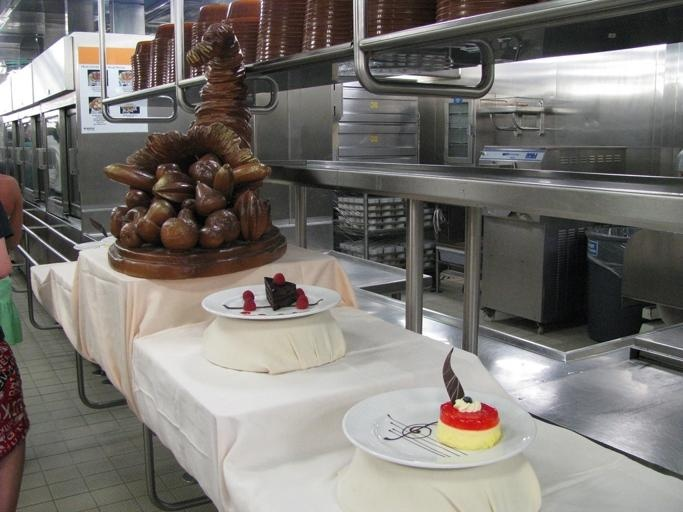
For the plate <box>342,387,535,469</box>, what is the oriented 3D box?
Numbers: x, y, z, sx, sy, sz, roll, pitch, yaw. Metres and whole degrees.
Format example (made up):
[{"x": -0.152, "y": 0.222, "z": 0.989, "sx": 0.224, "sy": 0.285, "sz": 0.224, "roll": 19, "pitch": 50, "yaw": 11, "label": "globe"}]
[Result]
[{"x": 0.125, "y": 0.259, "z": 0.706, "sx": 0.185, "sy": 0.018, "sz": 0.171, "roll": 2, "pitch": 16, "yaw": -12, "label": "plate"}]

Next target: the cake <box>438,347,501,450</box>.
[{"x": 0.186, "y": 0.207, "z": 0.677, "sx": 0.096, "sy": 0.111, "sz": 0.091, "roll": 6, "pitch": 9, "yaw": 29, "label": "cake"}]

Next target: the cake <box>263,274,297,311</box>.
[{"x": -0.142, "y": 0.081, "z": 1.078, "sx": 0.078, "sy": 0.055, "sz": 0.082, "roll": -9, "pitch": 17, "yaw": -40, "label": "cake"}]
